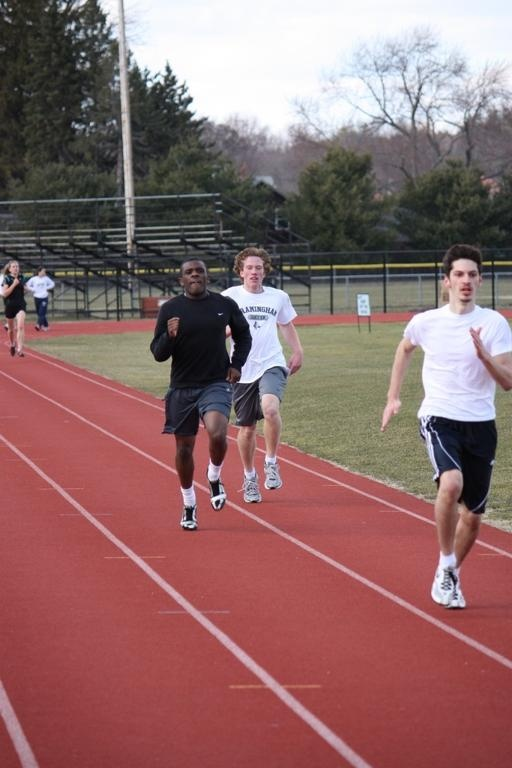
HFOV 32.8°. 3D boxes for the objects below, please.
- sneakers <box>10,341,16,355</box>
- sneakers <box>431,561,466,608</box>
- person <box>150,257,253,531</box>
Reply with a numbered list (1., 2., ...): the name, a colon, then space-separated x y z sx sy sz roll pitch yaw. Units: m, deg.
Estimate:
1. sneakers: -4.674 -0.698 16.656 0.104 0.300 0.123 -1 -23 -14
2. sneakers: 0.883 0.916 3.977 0.155 0.210 0.170 1 5 11
3. person: -0.304 0.038 5.307 0.424 1.553 0.758 4 6 41
